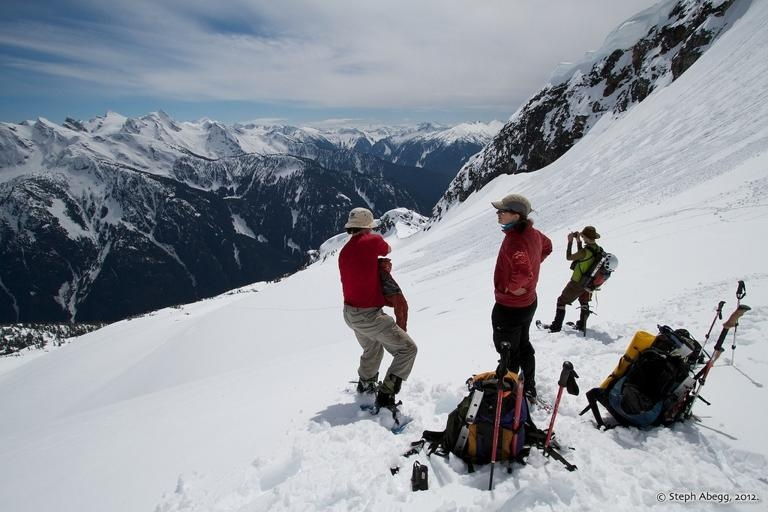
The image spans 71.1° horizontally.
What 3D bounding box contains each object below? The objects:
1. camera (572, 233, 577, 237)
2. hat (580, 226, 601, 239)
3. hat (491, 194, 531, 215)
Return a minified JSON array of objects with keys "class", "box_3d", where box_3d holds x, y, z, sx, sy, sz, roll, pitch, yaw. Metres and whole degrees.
[{"class":"camera","box_3d":[7.288,-0.815,20.608,0.112,0.159,0.056,-2,-6,12]},{"class":"hat","box_3d":[7.812,-0.937,20.737,0.574,0.251,0.650,1,23,-11]},{"class":"hat","box_3d":[4.392,-1.756,18.332,1.102,0.587,0.741,24,22,7]}]
